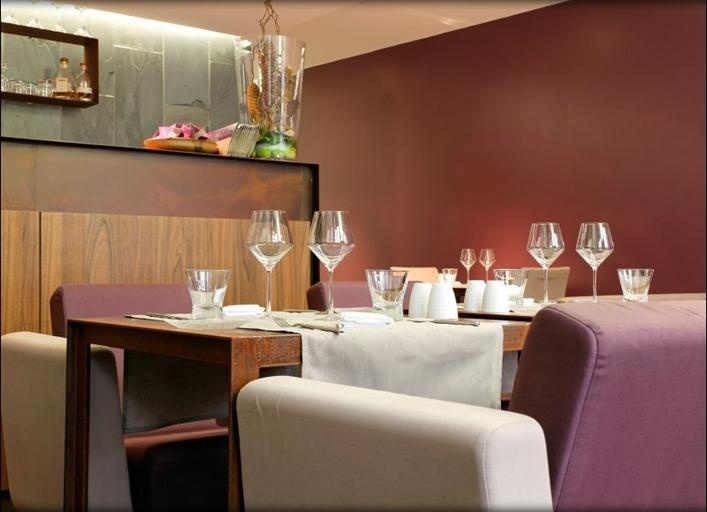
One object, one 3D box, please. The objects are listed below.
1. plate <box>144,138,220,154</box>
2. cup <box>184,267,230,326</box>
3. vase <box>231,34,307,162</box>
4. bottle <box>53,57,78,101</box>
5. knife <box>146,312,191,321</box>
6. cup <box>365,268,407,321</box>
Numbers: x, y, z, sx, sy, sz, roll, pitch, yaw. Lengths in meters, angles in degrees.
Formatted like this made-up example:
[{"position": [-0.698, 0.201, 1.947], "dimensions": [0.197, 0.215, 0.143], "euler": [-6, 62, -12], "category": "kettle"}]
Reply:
[{"position": [-0.809, -0.518, 2.764], "dimensions": [0.160, 0.037, 0.163], "euler": [1, 2, 0], "category": "plate"}, {"position": [-0.341, 0.092, 1.406], "dimensions": [0.104, 0.122, 0.108], "euler": [1, -7, 0], "category": "cup"}, {"position": [-0.423, -0.816, 3.043], "dimensions": [0.328, 0.660, 0.426], "euler": [0, 5, -12], "category": "vase"}, {"position": [-2.452, -1.517, 5.028], "dimensions": [0.178, 0.397, 0.271], "euler": [-2, 6, -25], "category": "bottle"}, {"position": [-0.480, 0.158, 1.532], "dimensions": [0.088, 0.015, 0.019], "euler": [7, 13, 27], "category": "knife"}, {"position": [0.085, 0.097, 1.478], "dimensions": [0.112, 0.136, 0.121], "euler": [-2, -2, 0], "category": "cup"}]
